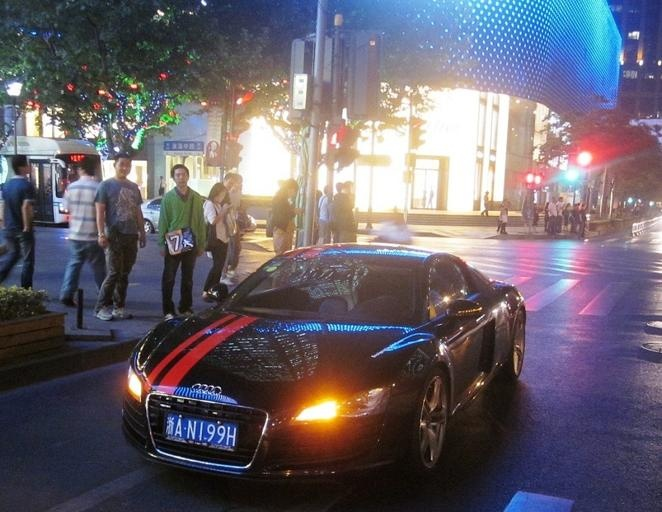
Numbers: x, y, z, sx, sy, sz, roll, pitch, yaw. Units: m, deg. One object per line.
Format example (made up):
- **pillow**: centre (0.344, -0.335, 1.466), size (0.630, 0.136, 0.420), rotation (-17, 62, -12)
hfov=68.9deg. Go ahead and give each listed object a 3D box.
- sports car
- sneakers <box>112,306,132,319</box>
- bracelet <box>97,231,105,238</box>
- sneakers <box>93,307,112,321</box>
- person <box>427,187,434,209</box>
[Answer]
- **sports car**: centre (0.279, 0.676, 3.943), size (1.488, 0.963, 3.158), rotation (3, 4, 24)
- **sneakers**: centre (-3.228, 0.880, 7.483), size (0.133, 0.154, 0.286), rotation (4, 7, 4)
- **bracelet**: centre (-3.447, -0.338, 7.234), size (0.076, 0.027, 0.085), rotation (-13, -27, 1)
- **sneakers**: centre (-3.473, 0.879, 7.389), size (0.146, 0.181, 0.366), rotation (0, 3, -39)
- **person**: centre (11.667, -6.811, 56.344), size (0.768, 2.223, 0.406), rotation (-4, 14, -14)
